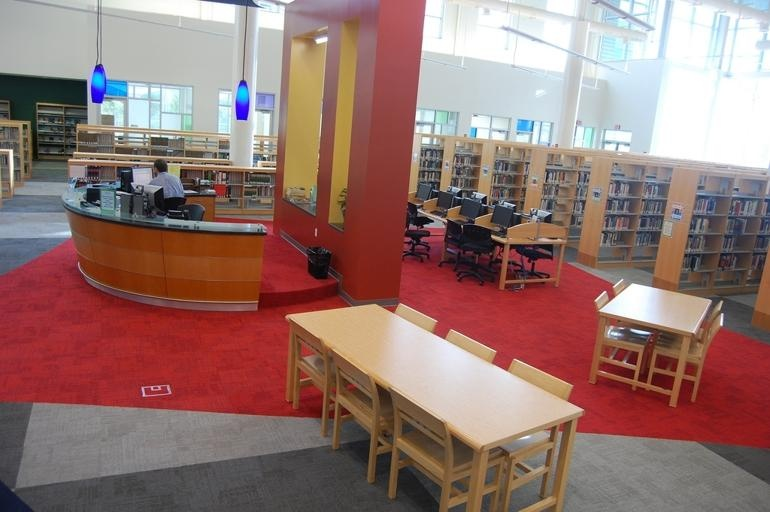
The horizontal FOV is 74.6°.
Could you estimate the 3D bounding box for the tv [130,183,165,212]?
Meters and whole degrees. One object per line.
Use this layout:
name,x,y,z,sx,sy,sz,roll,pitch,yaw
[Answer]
tv,-3.746,-0.912,7.976,0.540,0.492,0.287,6,11,24

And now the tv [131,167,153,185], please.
tv,-4.418,-1.465,9.237,0.207,0.273,0.539,6,13,6

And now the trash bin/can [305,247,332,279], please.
trash bin/can,-1.195,0.125,9.206,0.331,0.512,0.419,-3,15,-28

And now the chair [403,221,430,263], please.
chair,0.763,-0.316,12.396,0.944,0.951,0.893,0,7,-8

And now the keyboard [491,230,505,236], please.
keyboard,2.431,-0.497,10.859,0.279,0.058,0.818,8,13,16

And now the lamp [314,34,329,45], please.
lamp,-1.373,-4.657,10.834,0.231,0.088,0.874,2,12,-13

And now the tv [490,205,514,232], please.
tv,2.606,-0.835,11.211,0.222,0.553,0.569,7,13,-38

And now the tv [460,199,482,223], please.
tv,1.983,-1.032,11.673,0.487,0.481,0.184,37,17,37

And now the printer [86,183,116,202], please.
printer,-4.735,-1.048,8.450,0.502,0.317,0.259,1,16,-9

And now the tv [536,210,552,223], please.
tv,3.449,-0.843,11.019,0.326,0.257,0.853,8,13,15
